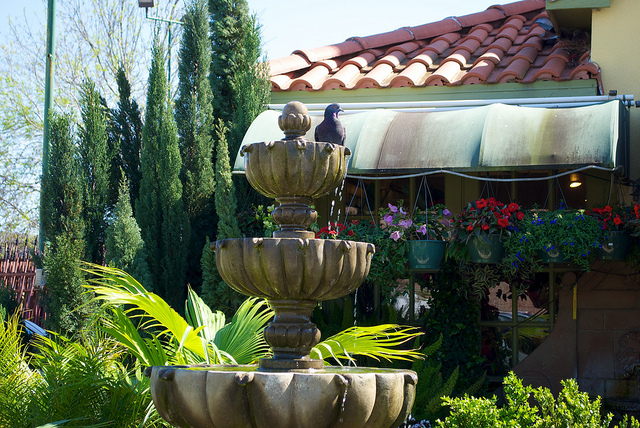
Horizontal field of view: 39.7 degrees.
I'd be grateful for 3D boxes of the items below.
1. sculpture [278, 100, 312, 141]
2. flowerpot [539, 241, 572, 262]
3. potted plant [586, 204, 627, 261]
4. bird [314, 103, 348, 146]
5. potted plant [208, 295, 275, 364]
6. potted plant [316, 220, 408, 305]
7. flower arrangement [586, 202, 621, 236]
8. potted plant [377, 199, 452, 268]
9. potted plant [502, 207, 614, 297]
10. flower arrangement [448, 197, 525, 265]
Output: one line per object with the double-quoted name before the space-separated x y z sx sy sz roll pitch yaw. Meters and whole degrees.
"sculpture" -0.346 -1.253 11.734 0.472 0.672 0.491 0 7 -36
"flowerpot" 3.570 0.656 13.628 0.288 0.289 0.341 0 -10 1
"potted plant" 4.455 0.321 13.784 0.566 0.631 0.712 0 -9 4
"bird" 0.142 -1.128 12.167 0.376 0.785 0.632 2 0 -12
"potted plant" -1.154 1.707 12.926 0.737 0.957 1.667 2 4 25
"potted plant" 0.783 0.859 14.258 1.152 1.400 1.094 -12 -10 34
"flower arrangement" 4.379 0.066 13.509 0.376 0.348 0.406 8 10 35
"potted plant" 1.507 0.425 14.322 1.003 1.195 1.043 0 -13 -5
"potted plant" 3.698 0.542 14.005 1.076 0.948 1.247 -4 -11 12
"flower arrangement" 2.511 0.287 13.670 0.971 1.439 0.755 -1 0 0
